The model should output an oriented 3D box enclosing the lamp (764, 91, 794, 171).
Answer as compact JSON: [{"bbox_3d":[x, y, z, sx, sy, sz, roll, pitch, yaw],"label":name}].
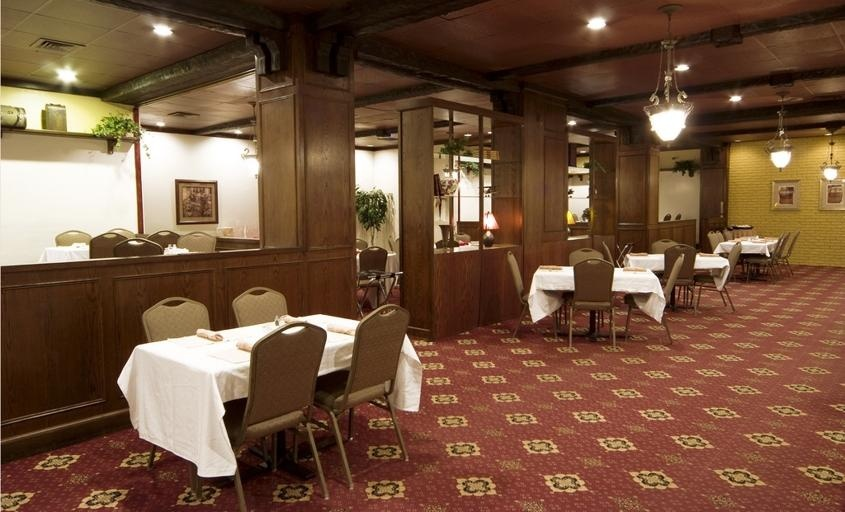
[{"bbox_3d":[9.052,-2.907,14.002,0.578,1.432,6.084,3,7,33],"label":"lamp"}]

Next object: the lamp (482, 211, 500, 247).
[{"bbox_3d":[1.115,-0.458,9.354,0.419,0.555,0.382,1,4,3],"label":"lamp"}]

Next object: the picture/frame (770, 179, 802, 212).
[{"bbox_3d":[10.887,-1.820,16.451,1.073,1.285,0.105,2,3,42],"label":"picture/frame"}]

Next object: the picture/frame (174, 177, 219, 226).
[{"bbox_3d":[-5.580,-1.340,13.651,1.250,1.109,0.118,2,6,18],"label":"picture/frame"}]

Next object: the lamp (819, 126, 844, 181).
[{"bbox_3d":[11.048,-2.745,14.842,0.456,1.403,2.490,3,7,35],"label":"lamp"}]

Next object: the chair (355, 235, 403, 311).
[{"bbox_3d":[-0.816,0.458,9.966,0.766,1.226,2.000,-2,6,-4],"label":"chair"}]

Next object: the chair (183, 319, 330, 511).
[{"bbox_3d":[-1.337,1.440,5.068,0.923,1.709,0.562,-4,7,-20],"label":"chair"}]
